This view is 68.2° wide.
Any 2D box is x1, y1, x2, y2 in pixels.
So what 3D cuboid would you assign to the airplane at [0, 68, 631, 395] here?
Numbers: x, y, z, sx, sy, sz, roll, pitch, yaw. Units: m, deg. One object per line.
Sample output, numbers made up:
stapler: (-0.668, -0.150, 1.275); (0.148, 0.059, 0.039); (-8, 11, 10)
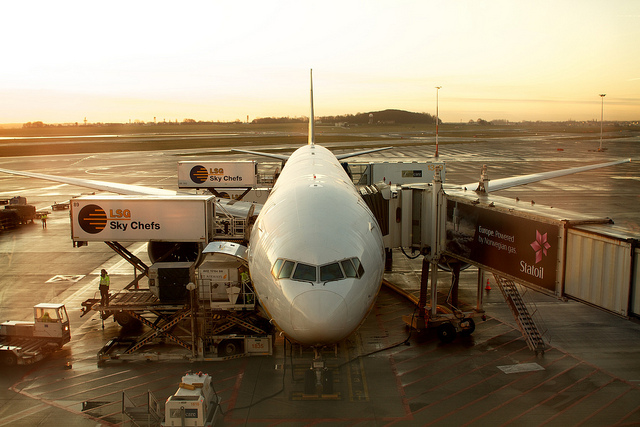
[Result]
airplane: (-2.250, 1.550, 29.515); (27.021, 8.181, 23.806); (0, 15, 1)
